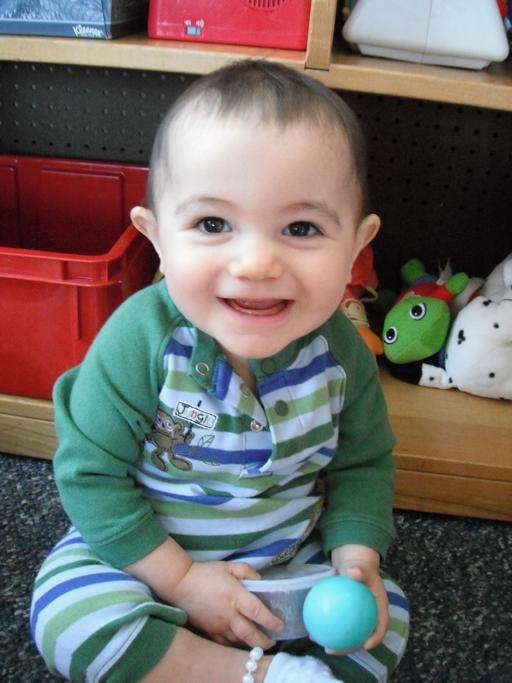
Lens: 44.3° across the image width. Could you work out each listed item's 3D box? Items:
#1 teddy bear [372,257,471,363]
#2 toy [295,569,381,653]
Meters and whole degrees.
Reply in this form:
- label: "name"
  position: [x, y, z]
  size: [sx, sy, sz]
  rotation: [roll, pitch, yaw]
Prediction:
- label: "teddy bear"
  position: [0.296, -0.065, 1.129]
  size: [0.067, 0.154, 0.176]
  rotation: [34, 39, -24]
- label: "toy"
  position: [0.080, 0.267, 0.617]
  size: [0.071, 0.074, 0.069]
  rotation: [-10, 11, 35]
